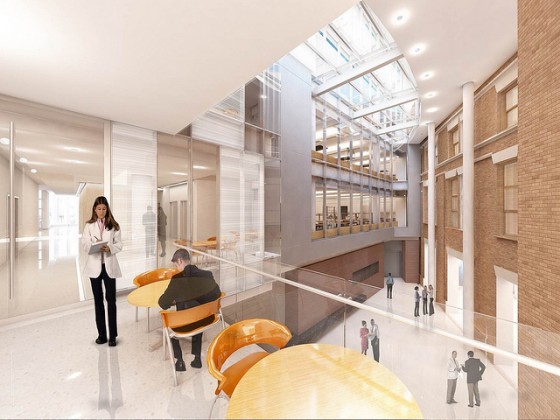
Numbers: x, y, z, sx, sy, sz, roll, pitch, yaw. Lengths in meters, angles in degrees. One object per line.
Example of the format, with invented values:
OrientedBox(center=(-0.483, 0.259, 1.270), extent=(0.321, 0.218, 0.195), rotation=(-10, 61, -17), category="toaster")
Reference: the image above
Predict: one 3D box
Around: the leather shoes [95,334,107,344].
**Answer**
OrientedBox(center=(-2.764, 2.048, 5.674), extent=(0.147, 0.152, 0.097), rotation=(4, -5, 6), category="leather shoes")

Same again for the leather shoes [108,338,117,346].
OrientedBox(center=(-2.557, 2.058, 5.567), extent=(0.115, 0.119, 0.116), rotation=(-3, -2, -23), category="leather shoes")

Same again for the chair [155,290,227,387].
OrientedBox(center=(-1.272, 1.846, 5.479), extent=(0.917, 1.152, 0.823), rotation=(-9, 11, -30), category="chair")

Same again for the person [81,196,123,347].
OrientedBox(center=(-2.734, 0.956, 5.652), extent=(0.548, 2.330, 0.403), rotation=(-3, -2, -16), category="person")

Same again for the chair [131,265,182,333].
OrientedBox(center=(-1.974, 1.414, 5.634), extent=(0.847, 0.654, 0.790), rotation=(4, 18, 22), category="chair")

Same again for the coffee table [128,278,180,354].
OrientedBox(center=(-2.044, 1.646, 5.596), extent=(0.887, 0.562, 0.878), rotation=(2, -2, -38), category="coffee table")
